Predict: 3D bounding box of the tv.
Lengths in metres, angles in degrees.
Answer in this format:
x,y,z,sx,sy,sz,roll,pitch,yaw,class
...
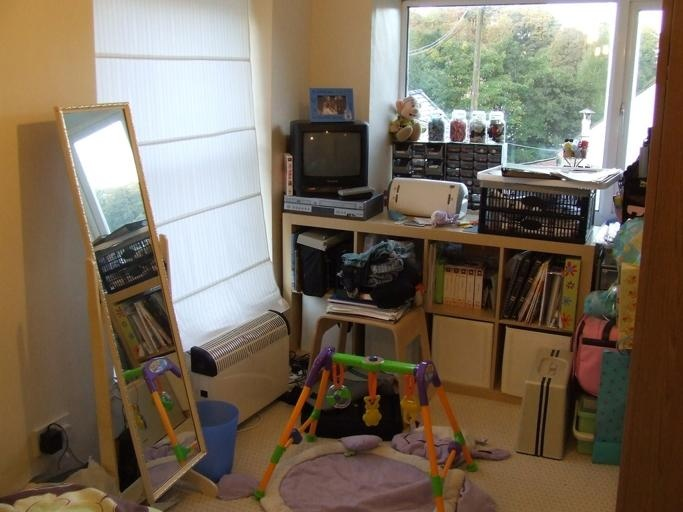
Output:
x,y,z,sx,sy,sz,roll,pitch,yaw,class
-0.120,-0.579,3.649,0.682,0.659,0.406,-2,13,-10,tv

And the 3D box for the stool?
x,y,z,sx,sy,sz,roll,pitch,yaw,class
0.213,0.611,3.199,0.591,0.432,0.433,6,13,27,stool

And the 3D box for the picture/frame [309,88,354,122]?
x,y,z,sx,sy,sz,roll,pitch,yaw,class
-0.065,-0.968,3.440,0.212,0.179,0.029,0,4,-4,picture/frame

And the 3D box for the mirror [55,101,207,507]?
x,y,z,sx,sy,sz,roll,pitch,yaw,class
-0.871,0.183,2.265,0.442,1.591,0.407,11,20,38,mirror

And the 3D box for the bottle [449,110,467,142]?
x,y,z,sx,sy,sz,roll,pitch,yaw,class
0.822,-0.921,3.777,0.121,0.213,0.152,2,16,12,bottle

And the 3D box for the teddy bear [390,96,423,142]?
x,y,z,sx,sy,sz,roll,pitch,yaw,class
0.452,-0.978,3.849,0.214,0.308,0.200,0,16,5,teddy bear

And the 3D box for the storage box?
x,y,z,sx,sy,sz,roll,pitch,yaw,class
1.049,0.770,2.740,0.201,0.367,0.416,6,21,20,storage box

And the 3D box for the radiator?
x,y,z,sx,sy,sz,roll,pitch,yaw,class
-0.570,0.600,2.872,0.253,0.444,0.471,13,23,31,radiator

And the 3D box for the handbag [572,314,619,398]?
x,y,z,sx,sy,sz,roll,pitch,yaw,class
1.283,0.500,2.736,0.178,0.335,0.252,6,17,25,handbag

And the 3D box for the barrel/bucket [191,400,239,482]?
x,y,z,sx,sy,sz,roll,pitch,yaw,class
-0.591,0.854,2.661,0.288,0.332,0.302,1,17,0,barrel/bucket

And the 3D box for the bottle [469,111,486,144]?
x,y,z,sx,sy,sz,roll,pitch,yaw,class
0.947,-0.900,3.726,0.118,0.199,0.179,2,16,13,bottle

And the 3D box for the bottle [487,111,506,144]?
x,y,z,sx,sy,sz,roll,pitch,yaw,class
1.062,-0.888,3.679,0.118,0.207,0.162,3,16,14,bottle

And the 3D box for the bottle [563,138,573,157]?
x,y,z,sx,sy,sz,roll,pitch,yaw,class
1.394,-0.662,3.297,0.060,0.097,0.172,5,17,22,bottle

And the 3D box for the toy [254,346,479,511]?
x,y,z,sx,sy,sz,roll,pitch,yaw,class
0.155,0.723,2.584,0.983,0.656,0.782,3,17,16,toy

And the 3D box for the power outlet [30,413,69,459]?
x,y,z,sx,sy,sz,roll,pitch,yaw,class
-1.263,0.767,2.302,0.049,0.160,0.109,-2,-1,11,power outlet

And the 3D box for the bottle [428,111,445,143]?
x,y,z,sx,sy,sz,roll,pitch,yaw,class
0.681,-0.922,3.835,0.119,0.184,0.172,3,16,14,bottle
